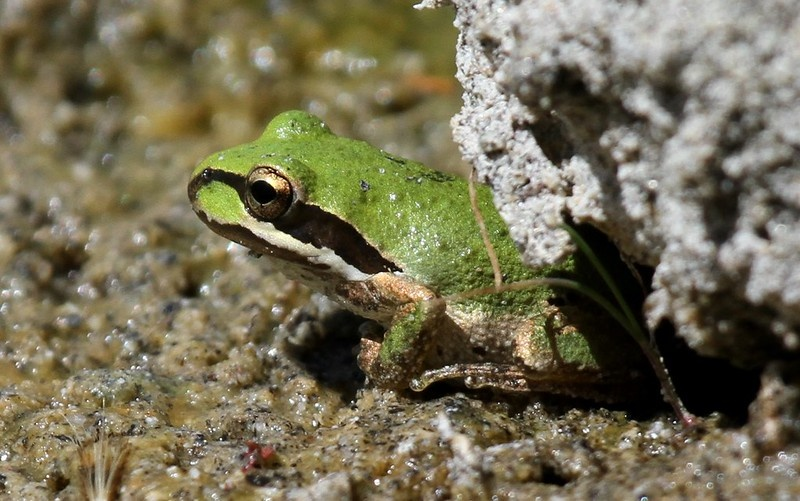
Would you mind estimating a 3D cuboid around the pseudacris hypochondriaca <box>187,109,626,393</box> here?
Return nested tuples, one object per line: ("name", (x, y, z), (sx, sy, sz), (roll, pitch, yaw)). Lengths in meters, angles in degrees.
("pseudacris hypochondriaca", (0.153, -0.056, 4.906), (2.509, 0.995, 1.526), (6, 36, 8))
